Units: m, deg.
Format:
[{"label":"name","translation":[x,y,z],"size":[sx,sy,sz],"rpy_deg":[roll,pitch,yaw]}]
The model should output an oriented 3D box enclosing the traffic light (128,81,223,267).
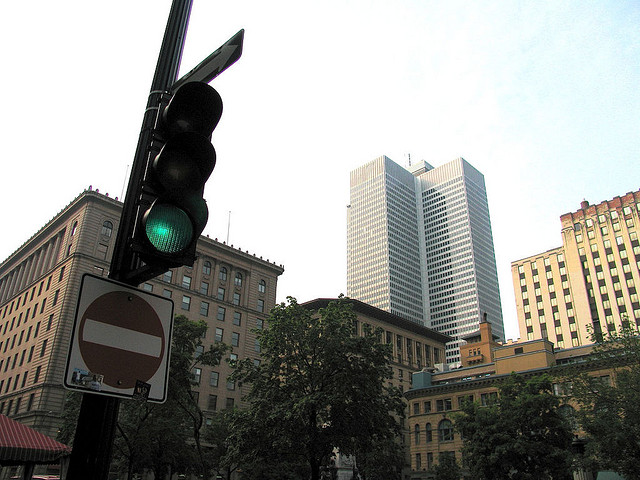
[{"label":"traffic light","translation":[-1.666,-0.930,6.351],"size":[0.831,2.427,0.828],"rpy_deg":[9,-29,-18]}]
